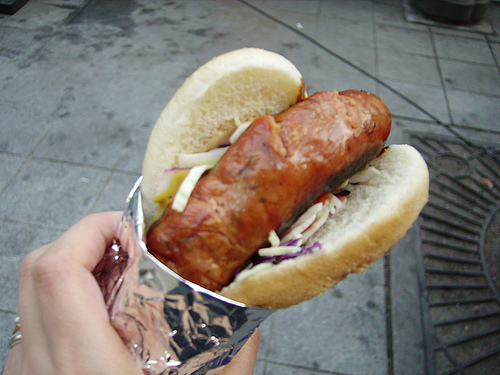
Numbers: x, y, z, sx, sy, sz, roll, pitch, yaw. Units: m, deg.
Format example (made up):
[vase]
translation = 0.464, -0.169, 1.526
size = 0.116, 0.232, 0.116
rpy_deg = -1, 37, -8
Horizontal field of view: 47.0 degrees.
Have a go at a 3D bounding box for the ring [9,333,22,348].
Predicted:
[ring]
translation = -1.125, 0.727, 2.760
size = 0.023, 0.096, 0.101
rpy_deg = 16, 76, -30
